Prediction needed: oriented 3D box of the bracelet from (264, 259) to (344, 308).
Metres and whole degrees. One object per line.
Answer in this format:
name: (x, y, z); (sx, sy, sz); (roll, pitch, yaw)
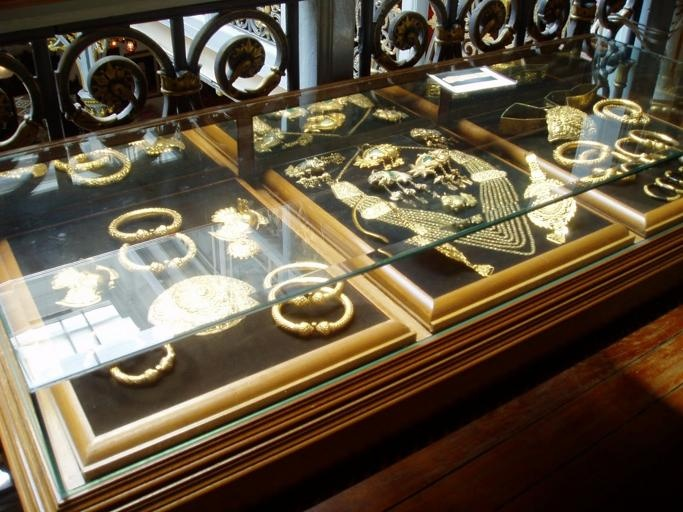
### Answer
bracelet: (-0.047, 0.056, 0.827); (0.110, 0.018, 0.101); (-16, 33, -28)

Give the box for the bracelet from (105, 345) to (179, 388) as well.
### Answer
bracelet: (-0.334, 0.191, 0.902); (0.112, 0.029, 0.058); (-19, 34, -26)
